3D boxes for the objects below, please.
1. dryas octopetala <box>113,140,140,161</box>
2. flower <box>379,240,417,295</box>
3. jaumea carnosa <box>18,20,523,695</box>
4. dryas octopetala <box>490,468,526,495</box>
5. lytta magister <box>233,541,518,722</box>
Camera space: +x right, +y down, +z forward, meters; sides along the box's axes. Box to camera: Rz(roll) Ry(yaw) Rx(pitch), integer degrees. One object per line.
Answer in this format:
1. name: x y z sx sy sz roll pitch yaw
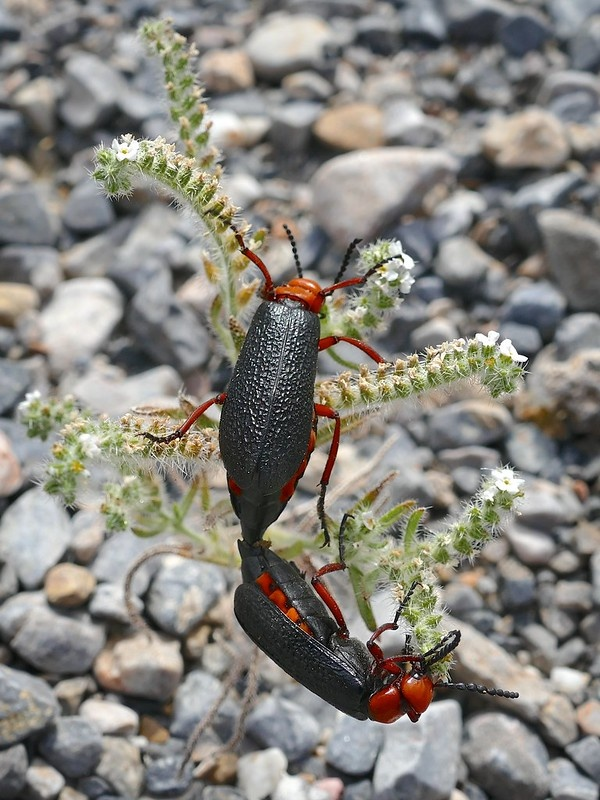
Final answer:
1. dryas octopetala: -0.539 -0.783 2.855 0.083 0.025 0.070 -9 78 -2
2. flower: 0.314 -0.446 3.026 0.146 0.051 0.151 -1 93 5
3. jaumea carnosa: -0.009 -0.016 3.691 2.005 0.760 2.210 8 88 -2
4. dryas octopetala: 0.642 0.258 2.899 0.096 0.170 0.090 6 80 2
5. lytta magister: 0.135 0.810 2.941 0.804 0.590 0.225 34 120 12
